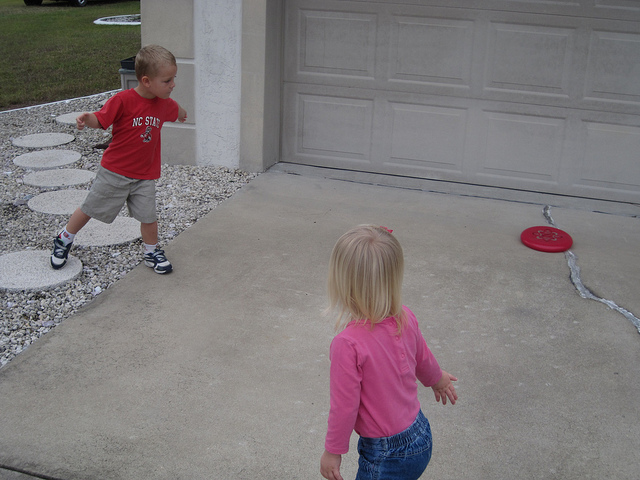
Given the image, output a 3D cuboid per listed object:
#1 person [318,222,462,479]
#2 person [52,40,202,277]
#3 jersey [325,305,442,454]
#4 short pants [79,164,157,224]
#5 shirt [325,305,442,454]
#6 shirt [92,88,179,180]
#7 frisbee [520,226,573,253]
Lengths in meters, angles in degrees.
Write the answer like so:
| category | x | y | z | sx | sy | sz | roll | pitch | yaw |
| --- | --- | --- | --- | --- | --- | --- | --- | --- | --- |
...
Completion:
| category | x | y | z | sx | sy | sz | roll | pitch | yaw |
| --- | --- | --- | --- | --- | --- | --- | --- | --- | --- |
| person | 0.234 | 0.428 | 1.847 | 0.461 | 0.942 | 0.287 | 0 | 15 | -7 |
| person | -1.485 | -0.670 | 4.095 | 0.738 | 1.825 | 1.238 | 31 | 30 | 35 |
| jersey | 0.246 | 0.487 | 1.864 | 0.527 | 0.445 | 0.200 | -11 | 20 | -41 |
| short pants | -1.595 | -0.350 | 4.096 | 0.525 | 0.518 | 0.211 | 17 | 14 | -24 |
| shirt | 0.225 | 0.473 | 1.891 | 0.546 | 0.473 | 0.214 | -24 | 23 | -31 |
| shirt | -1.387 | -0.791 | 3.910 | 0.564 | 0.650 | 0.244 | -2 | 16 | -18 |
| frisbee | 2.116 | -0.007 | 4.775 | 0.428 | 0.137 | 0.487 | 17 | 21 | 42 |
